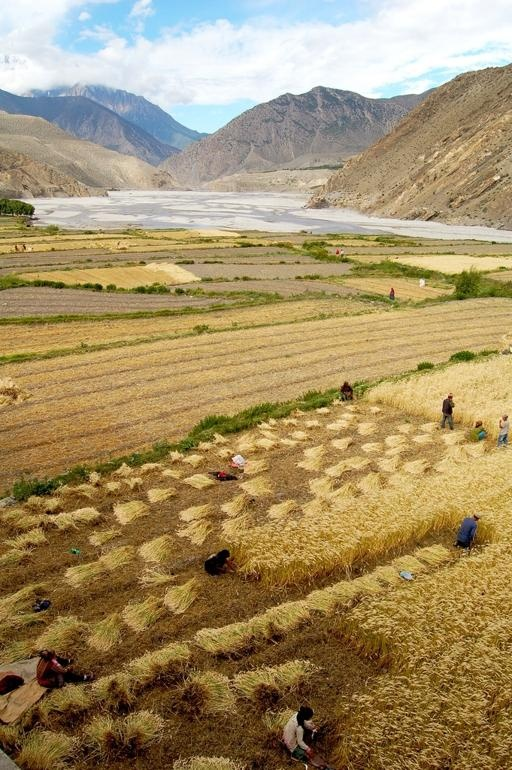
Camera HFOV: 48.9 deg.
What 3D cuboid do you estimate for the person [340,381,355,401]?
[{"bbox_3d":[3.380,0.175,21.307,0.512,0.700,0.914,-2,12,9],"label":"person"}]

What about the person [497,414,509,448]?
[{"bbox_3d":[6.624,1.189,15.257,0.282,0.761,0.878,2,13,23],"label":"person"}]

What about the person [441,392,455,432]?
[{"bbox_3d":[5.824,0.766,17.391,0.359,1.068,0.836,1,13,19],"label":"person"}]
